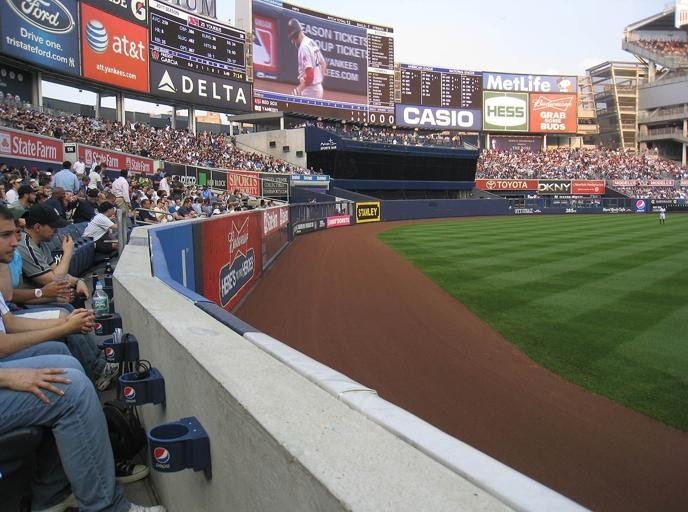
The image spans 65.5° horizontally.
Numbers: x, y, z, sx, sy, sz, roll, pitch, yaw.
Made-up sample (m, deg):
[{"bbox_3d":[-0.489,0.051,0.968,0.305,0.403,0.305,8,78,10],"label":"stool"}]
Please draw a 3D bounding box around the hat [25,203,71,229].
[{"bbox_3d":[-2.559,-0.312,4.692,0.345,0.230,0.233,0,26,-33],"label":"hat"}]

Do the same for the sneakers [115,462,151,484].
[{"bbox_3d":[-1.259,1.298,3.258,0.203,0.153,0.086,-1,13,-9],"label":"sneakers"}]

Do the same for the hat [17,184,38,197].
[{"bbox_3d":[-4.419,-0.909,7.510,0.136,0.164,0.434,-8,10,-23],"label":"hat"}]

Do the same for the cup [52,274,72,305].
[{"bbox_3d":[-2.271,0.282,4.349,0.164,0.214,0.134,17,18,17],"label":"cup"}]
